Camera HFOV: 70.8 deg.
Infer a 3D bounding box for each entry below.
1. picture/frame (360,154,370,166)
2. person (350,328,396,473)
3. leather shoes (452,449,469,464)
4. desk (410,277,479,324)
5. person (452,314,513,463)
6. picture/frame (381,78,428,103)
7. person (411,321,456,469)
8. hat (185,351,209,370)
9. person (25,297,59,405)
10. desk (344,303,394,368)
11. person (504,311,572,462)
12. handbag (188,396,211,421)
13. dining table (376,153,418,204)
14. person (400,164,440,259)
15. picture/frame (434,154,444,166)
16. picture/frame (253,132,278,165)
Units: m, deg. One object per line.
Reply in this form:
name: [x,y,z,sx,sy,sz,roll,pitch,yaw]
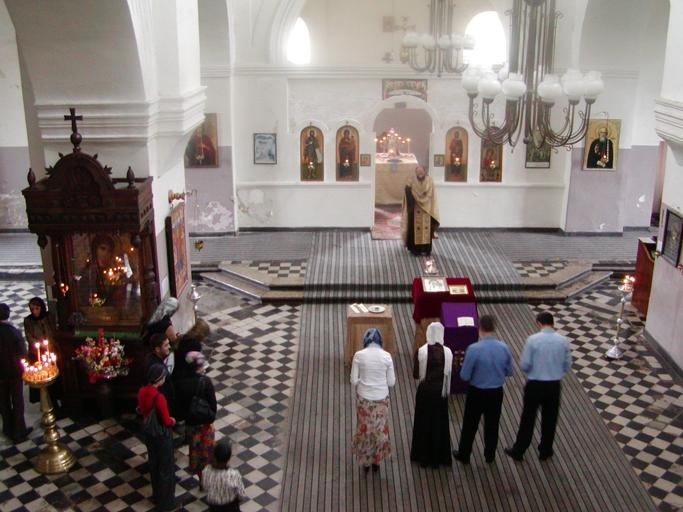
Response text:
picture/frame: [0.698,-2.847,14.198,0.279,0.373,0.043,3,4,-7]
person: [0.404,1.910,6.167,0.538,1.973,0.233,-2,14,2]
leather shoes: [1.616,2.749,6.572,0.089,0.116,0.273,-19,40,-21]
desk: [1.704,0.699,8.688,0.914,0.583,0.818,-1,40,0]
person: [1.851,1.913,6.305,0.678,1.916,0.295,-4,14,-6]
picture/frame: [1.810,-4.758,13.716,1.295,0.622,0.115,-3,14,-1]
person: [1.165,1.827,6.215,0.546,2.126,0.285,1,15,14]
hat: [-1.803,1.317,6.027,0.229,0.201,0.208,7,-17,5]
person: [-4.602,1.511,7.417,0.490,1.749,0.475,-9,18,-35]
desk: [0.452,1.540,8.919,1.069,1.499,0.955,-1,21,0]
person: [2.627,1.799,6.352,0.586,2.134,0.483,-11,16,-29]
handbag: [-1.799,1.919,6.050,0.229,0.270,0.135,10,8,-17]
dining table: [1.768,-2.621,16.684,1.354,1.264,1.523,0,27,1]
person: [2.038,-1.128,12.491,0.943,2.266,0.495,-2,14,1]
picture/frame: [2.885,-2.864,14.292,0.306,0.405,0.054,1,28,0]
picture/frame: [-2.242,-3.183,14.040,0.702,1.033,0.064,-1,13,-5]
